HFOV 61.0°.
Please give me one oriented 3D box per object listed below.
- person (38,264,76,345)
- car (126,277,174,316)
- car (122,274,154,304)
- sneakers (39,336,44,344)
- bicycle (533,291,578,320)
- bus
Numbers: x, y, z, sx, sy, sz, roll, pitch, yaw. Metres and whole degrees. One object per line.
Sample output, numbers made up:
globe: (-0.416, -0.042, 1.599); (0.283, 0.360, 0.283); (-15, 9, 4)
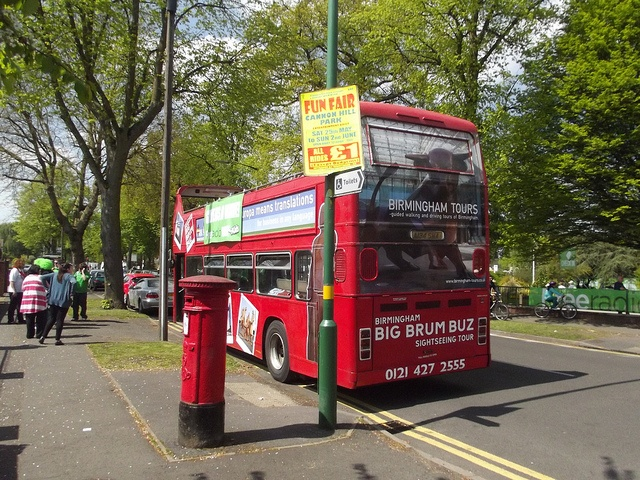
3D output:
person: (-6.835, 1.671, 14.084); (0.832, 2.085, 1.401); (-1, 6, -26)
car: (-7.319, 2.418, 23.515); (1.746, 1.385, 3.870); (3, 0, -30)
car: (-9.515, 2.566, 27.870); (1.384, 1.396, 2.899); (0, 1, -26)
sneakers: (-7.006, 2.516, 13.644); (0.112, 0.201, 0.341); (-1, 6, -31)
bicycle: (10.328, 3.031, 23.937); (1.686, 1.169, 0.882); (-3, -6, 22)
bus: (-0.024, 0.133, 11.644); (6.703, 5.801, 2.919); (6, 7, 38)
